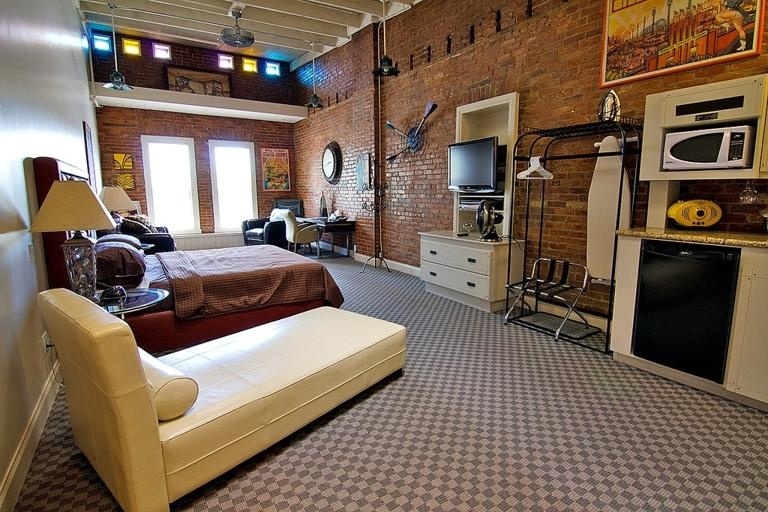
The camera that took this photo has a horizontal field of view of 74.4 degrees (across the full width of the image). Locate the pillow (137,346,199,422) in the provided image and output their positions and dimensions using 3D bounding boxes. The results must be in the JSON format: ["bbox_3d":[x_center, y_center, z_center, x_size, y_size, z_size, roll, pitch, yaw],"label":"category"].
[{"bbox_3d":[-1.436,0.866,3.366,0.130,0.130,0.513,-31,27,-33],"label":"pillow"}]

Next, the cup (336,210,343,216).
[{"bbox_3d":[-0.783,-0.761,8.982,0.073,0.125,0.135,0,3,-31],"label":"cup"}]

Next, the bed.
[{"bbox_3d":[-1.938,-0.044,5.104,2.304,1.365,1.726,-4,9,-34],"label":"bed"}]

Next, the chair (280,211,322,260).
[{"bbox_3d":[-1.285,-0.354,8.385,0.707,0.916,0.680,-6,12,-24],"label":"chair"}]

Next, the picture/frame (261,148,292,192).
[{"bbox_3d":[-2.224,-1.757,10.319,0.923,1.180,0.053,-5,13,-39],"label":"picture/frame"}]

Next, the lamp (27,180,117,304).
[{"bbox_3d":[-2.327,-0.111,3.844,0.528,0.913,0.388,-4,11,-20],"label":"lamp"}]

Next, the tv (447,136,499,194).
[{"bbox_3d":[1.084,-1.069,5.990,0.088,0.598,0.732,-7,11,-38],"label":"tv"}]

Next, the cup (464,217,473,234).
[{"bbox_3d":[1.071,-0.376,6.411,0.149,0.165,0.080,4,-6,31],"label":"cup"}]

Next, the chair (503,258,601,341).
[{"bbox_3d":[1.820,0.396,5.458,0.795,0.885,1.196,-9,12,-27],"label":"chair"}]
